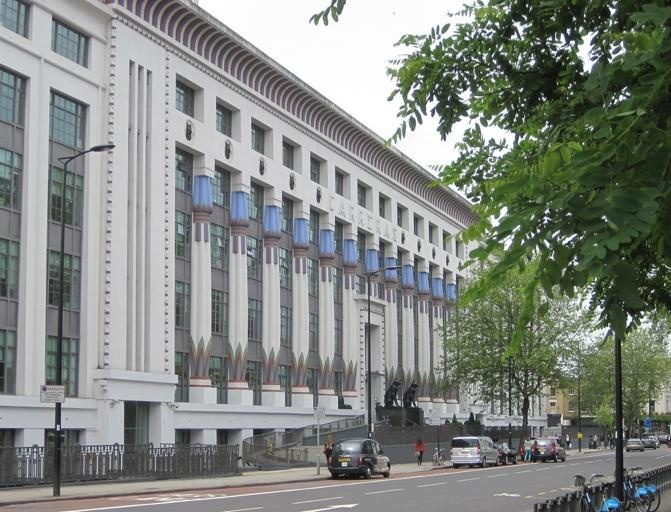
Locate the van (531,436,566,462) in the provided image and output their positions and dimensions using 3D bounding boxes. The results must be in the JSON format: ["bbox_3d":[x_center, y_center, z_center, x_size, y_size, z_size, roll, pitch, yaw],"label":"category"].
[{"bbox_3d":[14.014,12.565,65.384,1.318,1.308,2.644,-4,-6,27],"label":"van"}]

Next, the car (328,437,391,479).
[{"bbox_3d":[0.976,8.665,43.398,1.389,1.407,2.975,-3,-9,23],"label":"car"}]

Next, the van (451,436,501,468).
[{"bbox_3d":[7.891,10.920,56.321,1.410,1.253,3.007,-3,-6,27],"label":"van"}]

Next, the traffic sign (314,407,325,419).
[{"bbox_3d":[-0.765,7.083,45.985,0.417,0.671,1.072,-2,-20,-3],"label":"traffic sign"}]

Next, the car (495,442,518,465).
[{"bbox_3d":[10.274,11.804,60.237,0.933,0.861,2.095,-2,-7,25],"label":"car"}]

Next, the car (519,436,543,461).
[{"bbox_3d":[12.751,12.677,65.602,0.911,1.156,1.820,-1,-5,14],"label":"car"}]

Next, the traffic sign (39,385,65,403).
[{"bbox_3d":[-9.454,4.466,33.195,0.711,0.682,0.808,5,-21,-23],"label":"traffic sign"}]
